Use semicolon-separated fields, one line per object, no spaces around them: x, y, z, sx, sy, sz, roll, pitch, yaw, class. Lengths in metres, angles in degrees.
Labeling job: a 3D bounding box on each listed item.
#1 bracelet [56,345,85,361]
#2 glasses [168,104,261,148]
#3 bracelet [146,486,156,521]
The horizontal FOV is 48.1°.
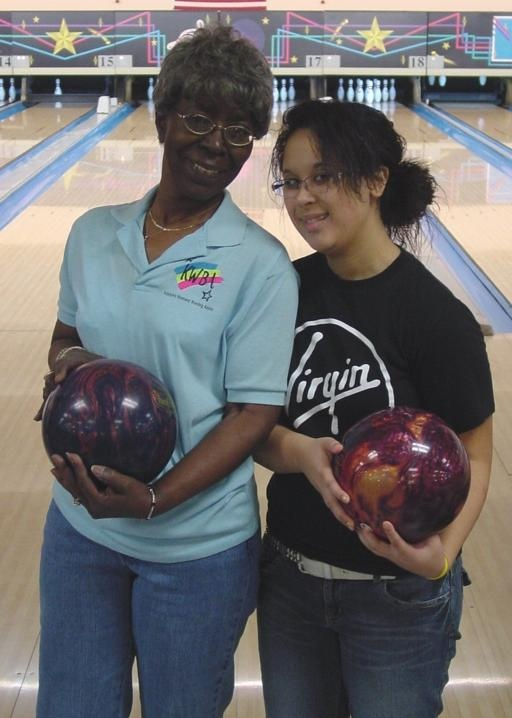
-0.265;-0.009;0.822;0.013;0.016;0.018;25;45;21;bracelet
-0.050;-0.312;0.784;0.113;0.044;0.058;-3;20;-11;glasses
-0.124;0.171;0.688;0.009;0.029;0.030;8;-21;-3;bracelet
